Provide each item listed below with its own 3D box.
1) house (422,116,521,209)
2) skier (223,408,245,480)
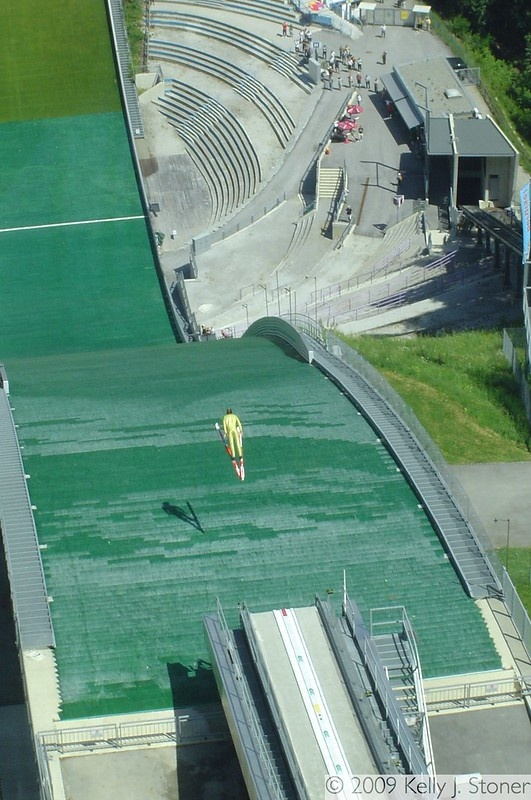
[{"bbox_3d":[8.424,-9.810,61.103,2.012,3.392,3.510,-4,36,0],"label":"house"},{"bbox_3d":[-0.565,0.858,32.382,0.364,1.655,0.579,-10,-1,-30],"label":"skier"}]
